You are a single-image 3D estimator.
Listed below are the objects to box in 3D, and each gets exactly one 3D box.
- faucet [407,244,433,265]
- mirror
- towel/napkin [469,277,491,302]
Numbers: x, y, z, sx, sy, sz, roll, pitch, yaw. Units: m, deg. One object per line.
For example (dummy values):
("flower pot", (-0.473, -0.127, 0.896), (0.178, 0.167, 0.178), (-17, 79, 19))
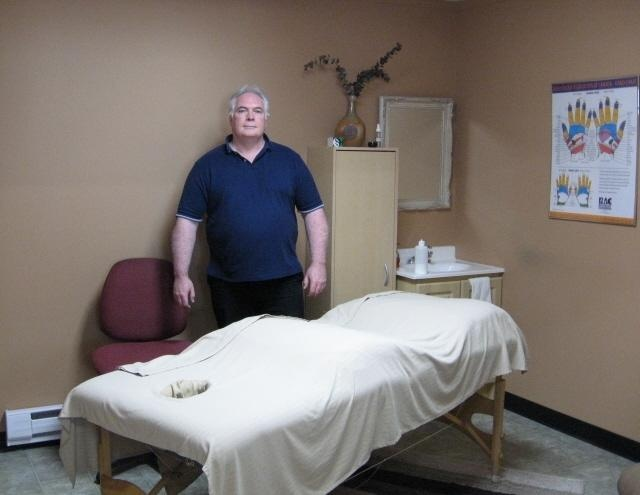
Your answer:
("faucet", (0.712, 0.045, 3.907), (0.099, 0.197, 0.183), (1, -3, -31))
("mirror", (0.660, -0.709, 3.947), (0.754, 1.176, 0.049), (-3, 9, -23))
("towel/napkin", (1.053, 0.268, 3.649), (0.136, 0.211, 0.043), (-4, 8, -24))
